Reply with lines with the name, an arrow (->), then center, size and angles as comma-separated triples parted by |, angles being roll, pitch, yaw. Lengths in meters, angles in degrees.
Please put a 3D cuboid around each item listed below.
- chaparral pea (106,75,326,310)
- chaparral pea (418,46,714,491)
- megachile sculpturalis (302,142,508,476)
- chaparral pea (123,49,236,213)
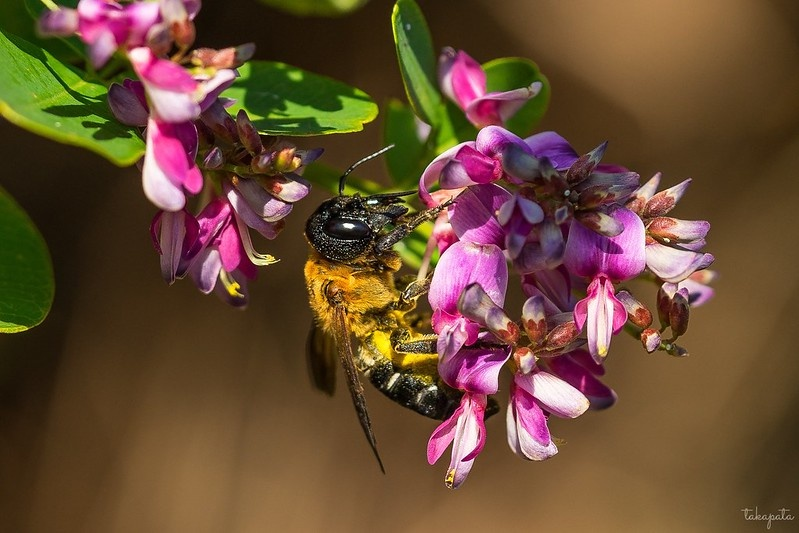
chaparral pea -> -0.612, -0.233, 2.691 | 0.680, 0.736, 0.347 | -11, 3, -23
chaparral pea -> 0.425, 0.089, 2.800 | 1.186, 1.159, 0.887 | 34, 41, 20
megachile sculpturalis -> 0.023, 0.225, 3.345 | 0.518, 1.297, 0.898 | 14, 39, 34
chaparral pea -> -0.715, -0.448, 2.506 | 0.146, 0.460, 0.429 | 6, 16, 32
